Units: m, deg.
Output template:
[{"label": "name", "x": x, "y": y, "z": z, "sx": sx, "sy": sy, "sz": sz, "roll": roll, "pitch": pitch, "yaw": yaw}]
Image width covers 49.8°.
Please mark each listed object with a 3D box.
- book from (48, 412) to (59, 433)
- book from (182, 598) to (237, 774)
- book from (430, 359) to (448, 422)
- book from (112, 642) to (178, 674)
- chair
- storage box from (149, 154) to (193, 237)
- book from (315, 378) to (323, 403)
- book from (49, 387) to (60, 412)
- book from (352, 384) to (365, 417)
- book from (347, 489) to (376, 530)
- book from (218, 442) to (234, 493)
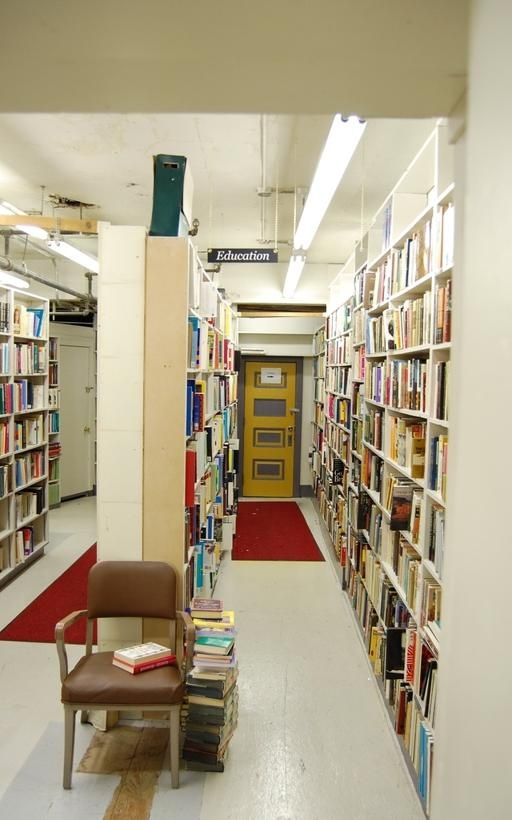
[{"label": "book", "x": -2.484, "y": 0.157, "z": 6.715, "sx": 0.110, "sy": 0.263, "sz": 0.233, "roll": 1, "pitch": 0, "yaw": -4}, {"label": "book", "x": -0.212, "y": 1.195, "z": 2.387, "sx": 0.249, "sy": 0.631, "sz": 0.317, "roll": 1, "pitch": 2, "yaw": 1}, {"label": "book", "x": 0.677, "y": -0.072, "z": 2.027, "sx": 0.055, "sy": 0.214, "sz": 0.197, "roll": 1, "pitch": 2, "yaw": 7}, {"label": "book", "x": -0.486, "y": 1.076, "z": 2.396, "sx": 0.264, "sy": 0.087, "sz": 0.190, "roll": 0, "pitch": 2, "yaw": -37}, {"label": "chair", "x": -0.569, "y": 1.136, "z": 2.390, "sx": 0.537, "sy": 0.901, "sz": 0.596, "roll": 8, "pitch": -13, "yaw": -30}, {"label": "storage box", "x": -0.413, "y": -1.088, "z": 2.871, "sx": 0.120, "sy": 0.402, "sz": 0.392, "roll": 4, "pitch": 10, "yaw": -2}, {"label": "book", "x": 0.843, "y": -0.252, "z": 7.303, "sx": 0.140, "sy": 0.344, "sz": 0.305, "roll": 1, "pitch": 1, "yaw": 3}, {"label": "book", "x": -2.517, "y": -0.125, "z": 6.842, "sx": 0.174, "sy": 0.310, "sz": 0.273, "roll": 0, "pitch": 1, "yaw": -2}, {"label": "book", "x": 0.753, "y": -0.067, "z": 4.029, "sx": 0.062, "sy": 0.223, "sz": 0.203, "roll": 1, "pitch": 2, "yaw": 5}, {"label": "book", "x": 0.707, "y": 0.678, "z": 3.682, "sx": 0.044, "sy": 0.245, "sz": 0.201, "roll": 1, "pitch": 3, "yaw": -7}, {"label": "book", "x": -0.292, "y": 0.546, "z": 5.151, "sx": 0.136, "sy": 0.479, "sz": 0.405, "roll": 0, "pitch": 11, "yaw": 0}]
